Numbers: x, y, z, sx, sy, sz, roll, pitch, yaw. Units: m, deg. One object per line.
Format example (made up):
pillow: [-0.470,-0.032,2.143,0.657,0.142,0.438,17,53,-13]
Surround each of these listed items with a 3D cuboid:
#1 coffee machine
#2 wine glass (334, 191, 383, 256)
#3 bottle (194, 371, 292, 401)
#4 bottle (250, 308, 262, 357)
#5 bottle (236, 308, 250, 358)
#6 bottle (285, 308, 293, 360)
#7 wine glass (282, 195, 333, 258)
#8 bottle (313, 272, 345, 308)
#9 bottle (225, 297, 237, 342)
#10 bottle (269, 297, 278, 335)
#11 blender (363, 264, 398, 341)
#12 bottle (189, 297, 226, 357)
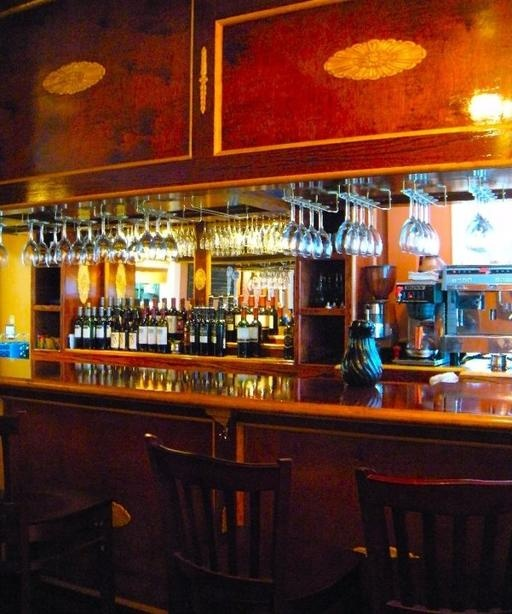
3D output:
coffee machine: [0.938,0.070,3.729,0.260,0.511,0.313,-1,1,21]
wine glass: [0.406,-0.329,2.684,0.156,0.232,0.509,-1,1,22]
bottle: [-0.024,0.293,2.440,0.356,0.028,0.816,-1,1,-4]
bottle: [-0.005,0.170,4.265,0.068,0.301,0.130,-1,1,9]
bottle: [-0.084,0.172,4.242,0.070,0.305,0.169,-1,1,-4]
bottle: [0.207,0.196,4.136,0.055,0.245,0.181,-1,1,6]
wine glass: [0.231,-0.360,2.952,0.097,0.296,0.385,2,1,27]
bottle: [0.445,-0.103,4.030,0.184,0.205,0.128,-1,1,10]
bottle: [-0.174,0.086,4.554,0.079,0.299,0.215,-1,1,-2]
bottle: [0.119,0.061,4.455,0.055,0.246,0.083,-1,1,4]
blender: [0.726,-0.019,3.868,0.179,0.450,0.319,0,1,41]
bottle: [-0.318,0.139,4.472,0.276,0.485,0.285,0,-6,0]
